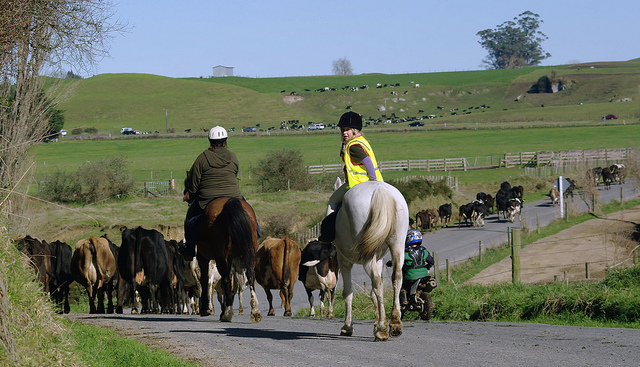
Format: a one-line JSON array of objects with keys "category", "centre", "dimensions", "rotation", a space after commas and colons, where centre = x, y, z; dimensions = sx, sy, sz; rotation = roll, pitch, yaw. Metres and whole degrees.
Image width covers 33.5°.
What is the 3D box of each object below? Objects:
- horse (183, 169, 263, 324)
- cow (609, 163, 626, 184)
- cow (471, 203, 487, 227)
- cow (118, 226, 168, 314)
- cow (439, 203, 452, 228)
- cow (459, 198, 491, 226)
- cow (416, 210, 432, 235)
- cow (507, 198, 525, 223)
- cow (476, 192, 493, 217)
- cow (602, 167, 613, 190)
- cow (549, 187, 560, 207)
[{"category": "horse", "centre": [-7.119, 5.265, 91.824], "dimensions": [4.311, 13.194, 6.420], "rotation": [0, 0, -25]}, {"category": "cow", "centre": [37.220, -1.320, 132.582], "dimensions": [1.237, 2.453, 3.034], "rotation": [-6, -7, 35]}, {"category": "cow", "centre": [17.910, 3.394, 120.102], "dimensions": [1.724, 2.603, 0.949], "rotation": [-1, -6, -10]}, {"category": "cow", "centre": [-16.638, 8.307, 101.333], "dimensions": [4.582, 7.894, 13.133], "rotation": [-3, -7, -4]}, {"category": "cow", "centre": [14.471, 3.660, 123.123], "dimensions": [1.319, 2.687, 2.357], "rotation": [-3, -6, 6]}, {"category": "cow", "centre": [17.656, 2.441, 121.847], "dimensions": [4.892, 2.650, 1.774], "rotation": [-23, 24, -34]}, {"category": "cow", "centre": [11.769, 4.148, 120.319], "dimensions": [2.082, 2.690, 0.986], "rotation": [3, -8, -42]}, {"category": "cow", "centre": [21.997, 2.924, 120.076], "dimensions": [1.606, 2.751, 1.952], "rotation": [-3, -6, 9]}, {"category": "cow", "centre": [18.940, 1.845, 122.842], "dimensions": [1.205, 2.008, 3.537], "rotation": [1, 4, 13]}, {"category": "cow", "centre": [35.406, -0.778, 130.653], "dimensions": [1.121, 2.753, 2.213], "rotation": [-4, -6, 16]}, {"category": "cow", "centre": [27.433, 1.503, 124.048], "dimensions": [0.843, 2.265, 1.285], "rotation": [-2, -6, 4]}]
